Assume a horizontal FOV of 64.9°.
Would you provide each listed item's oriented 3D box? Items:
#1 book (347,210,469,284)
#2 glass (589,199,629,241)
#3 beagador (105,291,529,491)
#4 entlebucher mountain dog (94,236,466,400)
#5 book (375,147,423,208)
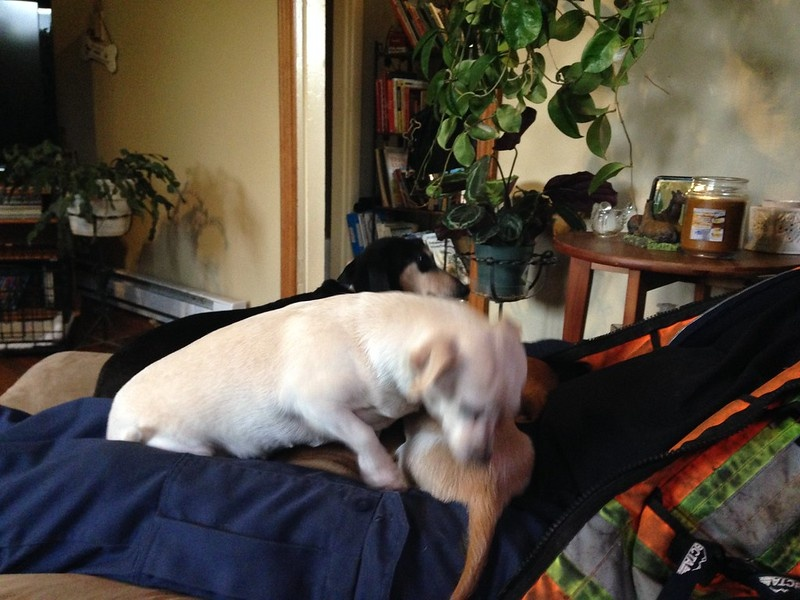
[{"bbox_3d":[-0.021,-0.309,2.969,0.395,0.396,0.668,-11,19,-40],"label":"book"},{"bbox_3d":[0.688,-0.253,2.007,0.164,0.104,0.085,1,14,-14],"label":"glass"},{"bbox_3d":[-0.110,0.108,0.984,0.540,0.266,0.312,-2,15,9],"label":"beagador"},{"bbox_3d":[-0.235,-0.087,1.450,0.684,0.438,0.599,-2,12,-4],"label":"entlebucher mountain dog"},{"bbox_3d":[-0.027,-0.600,3.183,0.253,0.288,0.069,-6,6,-10],"label":"book"}]
